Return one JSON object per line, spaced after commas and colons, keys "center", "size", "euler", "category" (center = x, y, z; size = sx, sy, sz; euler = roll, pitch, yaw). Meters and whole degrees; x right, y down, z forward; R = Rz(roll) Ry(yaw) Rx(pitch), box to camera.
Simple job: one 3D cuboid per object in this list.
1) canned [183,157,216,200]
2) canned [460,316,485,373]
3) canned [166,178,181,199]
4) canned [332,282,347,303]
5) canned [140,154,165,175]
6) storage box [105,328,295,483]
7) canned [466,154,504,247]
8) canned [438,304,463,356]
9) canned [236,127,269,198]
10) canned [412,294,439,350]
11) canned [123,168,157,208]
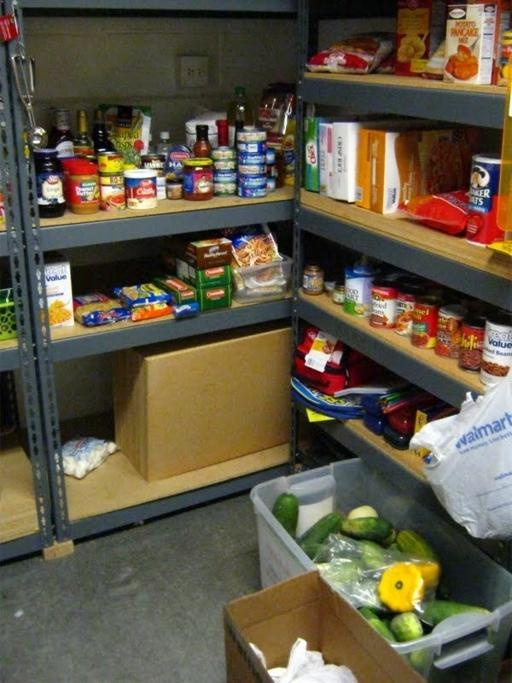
{"center": [-0.162, -0.453, 1.557], "size": [0.108, 0.114, 0.107], "euler": [-1, 14, -1], "category": "canned"}
{"center": [0.429, 0.008, 1.130], "size": [0.043, 0.093, 0.090], "euler": [5, 25, 19], "category": "canned"}
{"center": [-0.230, -0.431, 1.580], "size": [0.046, 0.043, 0.046], "euler": [19, 31, 32], "category": "canned"}
{"center": [0.230, -0.137, 1.587], "size": [0.045, 0.046, 0.045], "euler": [-1, 17, -3], "category": "canned"}
{"center": [-0.286, -0.494, 1.554], "size": [0.059, 0.049, 0.058], "euler": [-6, 31, -18], "category": "canned"}
{"center": [-0.175, 0.195, 1.772], "size": [0.439, 0.352, 0.219], "euler": [-11, 22, -34], "category": "storage box"}
{"center": [0.412, -0.257, 1.020], "size": [0.052, 0.150, 0.105], "euler": [-1, 24, 5], "category": "canned"}
{"center": [0.412, -0.024, 1.206], "size": [0.048, 0.096, 0.081], "euler": [5, 25, 19], "category": "canned"}
{"center": [-0.009, -0.510, 1.606], "size": [0.094, 0.187, 0.075], "euler": [-9, 24, -12], "category": "canned"}
{"center": [0.376, -0.045, 1.263], "size": [0.051, 0.101, 0.094], "euler": [3, 25, 15], "category": "canned"}
{"center": [-0.284, -0.411, 1.496], "size": [0.094, 0.099, 0.094], "euler": [20, 31, 36], "category": "canned"}
